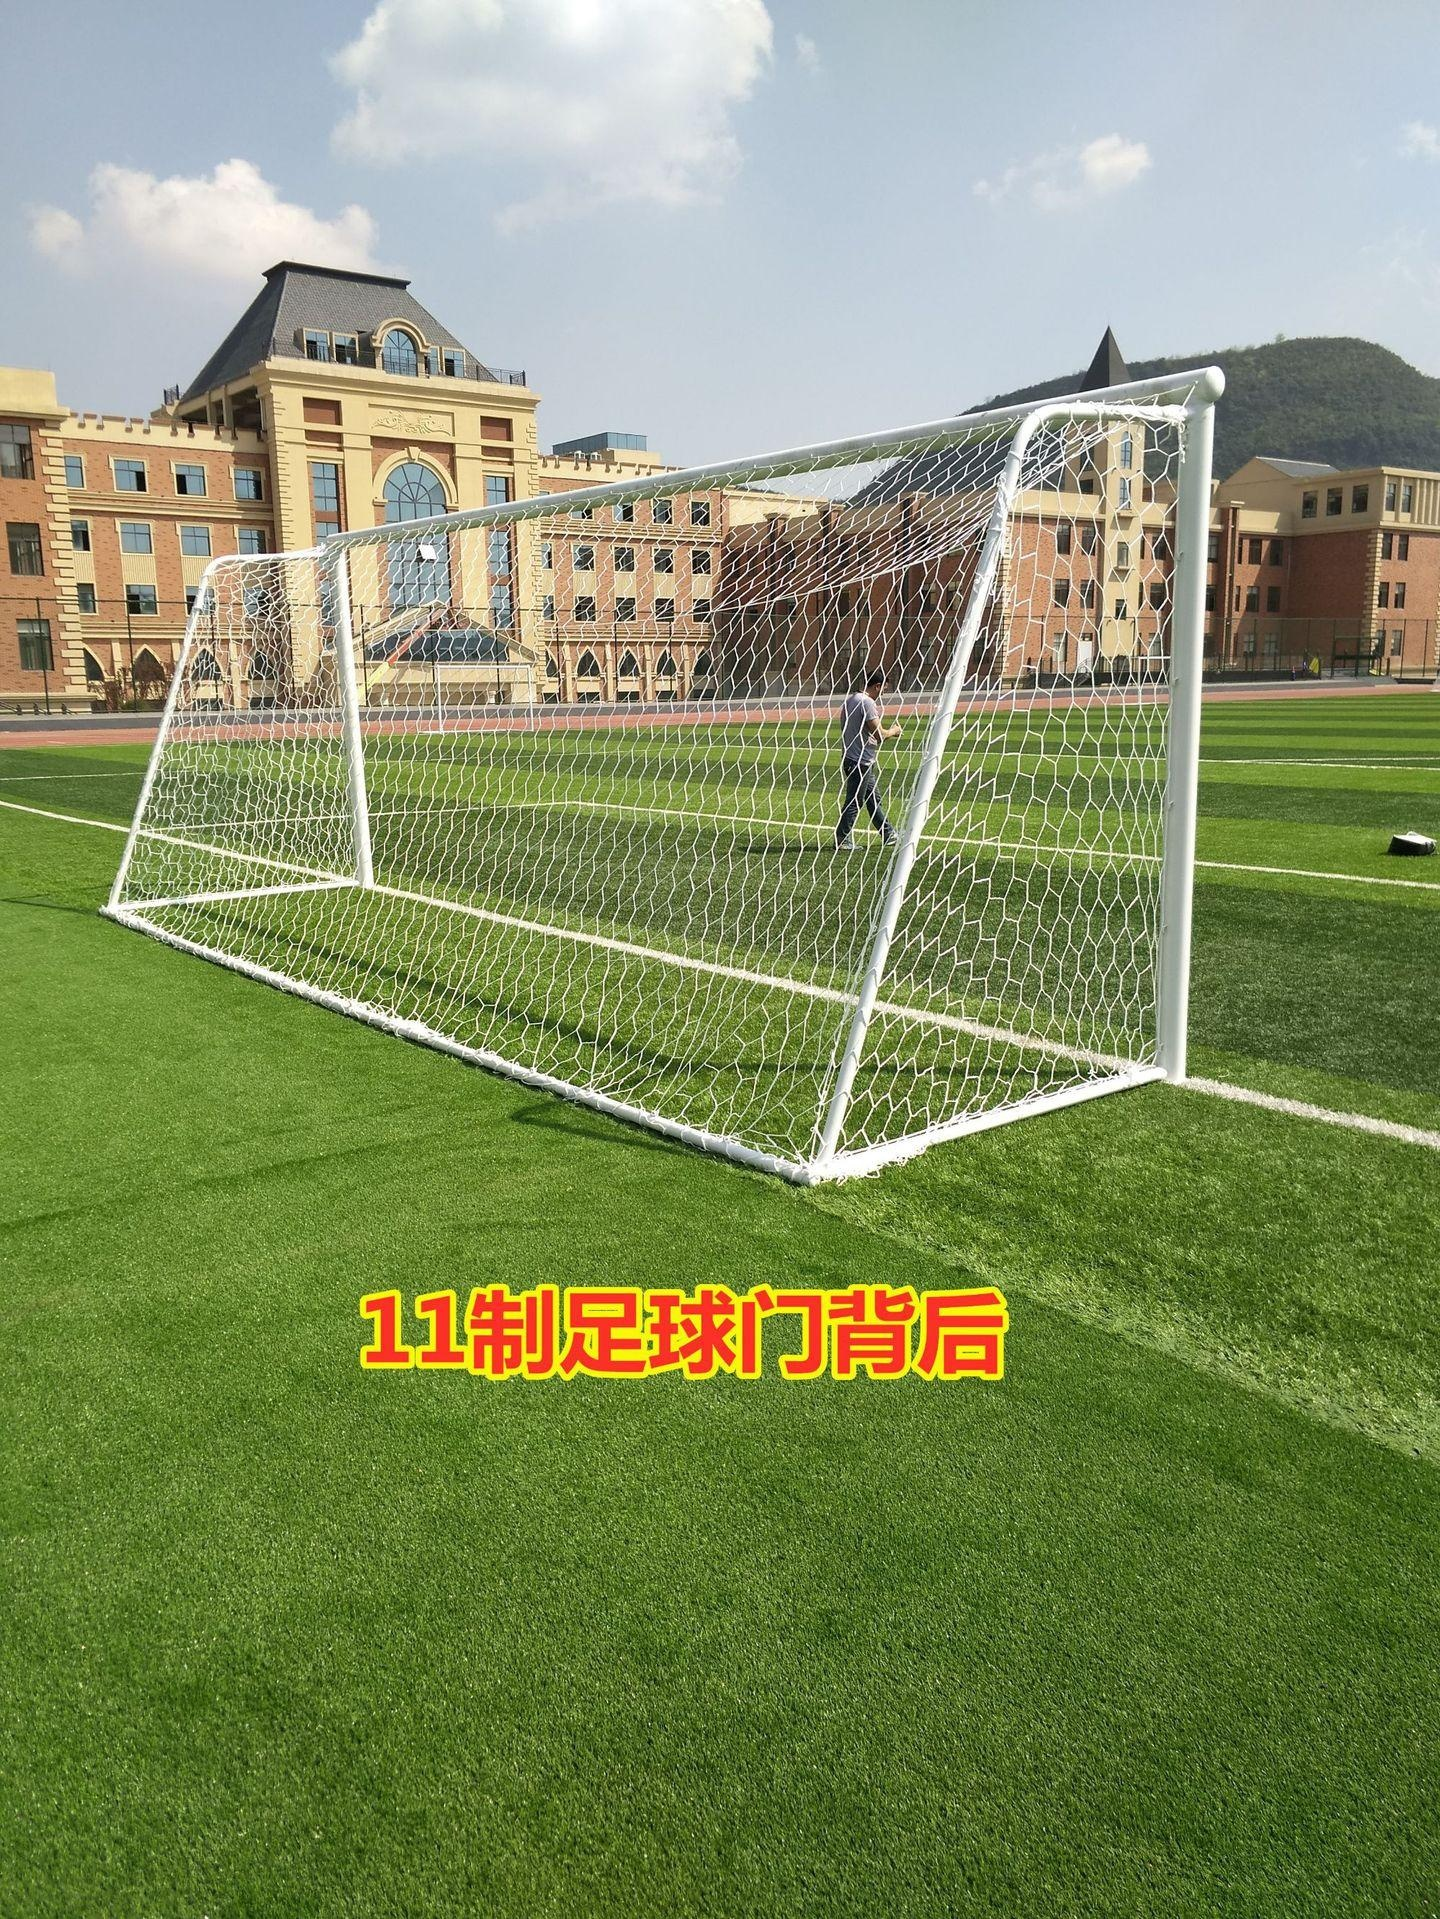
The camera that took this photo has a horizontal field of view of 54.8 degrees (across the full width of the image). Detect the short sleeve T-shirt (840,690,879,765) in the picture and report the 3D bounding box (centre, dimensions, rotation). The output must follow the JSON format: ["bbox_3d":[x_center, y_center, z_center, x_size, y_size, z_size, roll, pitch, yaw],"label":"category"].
[{"bbox_3d":[0.987,-1.637,9.777,0.258,0.536,0.479,-6,10,-27],"label":"short sleeve T-shirt"}]

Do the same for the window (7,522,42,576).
[{"bbox_3d":[-20.913,-12.387,41.725,0.190,1.532,1.273,21,27,31],"label":"window"}]

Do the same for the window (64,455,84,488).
[{"bbox_3d":[-21.551,-16.317,46.509,0.533,1.047,0.242,-7,12,-32],"label":"window"}]

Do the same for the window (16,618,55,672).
[{"bbox_3d":[-20.957,-9.661,42.462,0.201,2.071,1.437,5,8,40],"label":"window"}]

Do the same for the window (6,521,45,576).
[{"bbox_3d":[-20.890,-12.396,41.729,0.148,1.562,1.285,22,29,32],"label":"window"}]

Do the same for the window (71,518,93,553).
[{"bbox_3d":[-21.571,-14.336,47.021,0.506,1.039,0.315,-2,10,-9],"label":"window"}]
